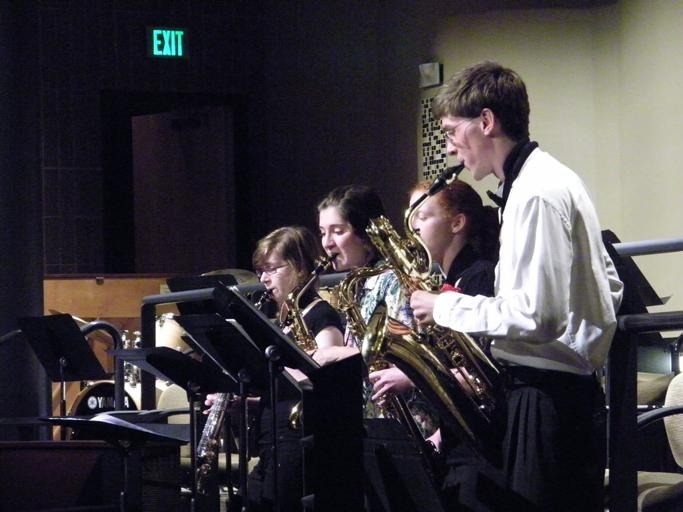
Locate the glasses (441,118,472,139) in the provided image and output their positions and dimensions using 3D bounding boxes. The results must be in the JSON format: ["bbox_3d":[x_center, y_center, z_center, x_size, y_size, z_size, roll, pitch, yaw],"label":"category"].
[{"bbox_3d":[0.470,-0.538,3.329,0.095,0.030,0.091,-34,10,-13],"label":"glasses"}]

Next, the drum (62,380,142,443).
[{"bbox_3d":[-1.697,1.090,5.834,0.457,0.364,0.747,-2,-3,-22],"label":"drum"}]

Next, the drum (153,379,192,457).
[{"bbox_3d":[-1.092,1.109,5.358,0.204,0.466,1.475,-3,-3,-12],"label":"drum"}]

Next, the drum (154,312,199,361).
[{"bbox_3d":[-1.208,0.544,5.885,0.216,0.274,0.489,-3,-3,-12],"label":"drum"}]
